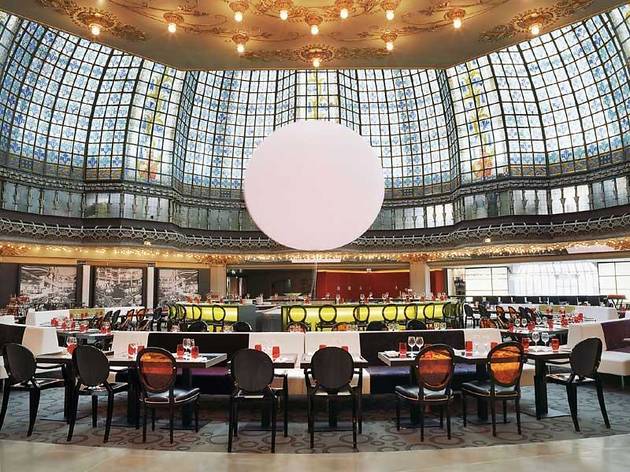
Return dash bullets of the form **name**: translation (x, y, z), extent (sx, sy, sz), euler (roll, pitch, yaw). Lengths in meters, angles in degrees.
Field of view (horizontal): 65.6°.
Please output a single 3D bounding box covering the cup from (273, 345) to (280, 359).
- **cup**: translation (-0.734, 2.205, 9.295), extent (0.198, 0.241, 0.192), euler (1, -10, 0)
